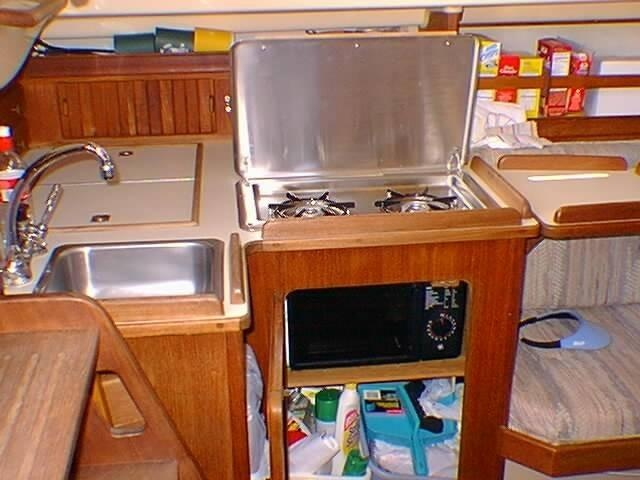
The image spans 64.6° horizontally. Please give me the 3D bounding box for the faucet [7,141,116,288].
[{"bbox_3d":[-0.684,-0.063,1.247,0.254,0.321,0.248,2,16,24],"label":"faucet"}]

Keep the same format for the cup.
[{"bbox_3d":[-0.609,-0.809,2.062,0.511,0.122,0.143,-4,14,-1],"label":"cup"}]

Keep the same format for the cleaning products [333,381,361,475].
[{"bbox_3d":[0.097,0.655,1.782,0.067,0.330,0.148,9,20,40],"label":"cleaning products"}]

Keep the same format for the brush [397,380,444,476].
[{"bbox_3d":[0.386,0.687,1.880,0.148,0.177,0.345,-2,14,7],"label":"brush"}]

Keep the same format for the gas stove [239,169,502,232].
[{"bbox_3d":[0.143,-0.120,1.594,0.499,0.026,0.418,-2,24,-6],"label":"gas stove"}]
